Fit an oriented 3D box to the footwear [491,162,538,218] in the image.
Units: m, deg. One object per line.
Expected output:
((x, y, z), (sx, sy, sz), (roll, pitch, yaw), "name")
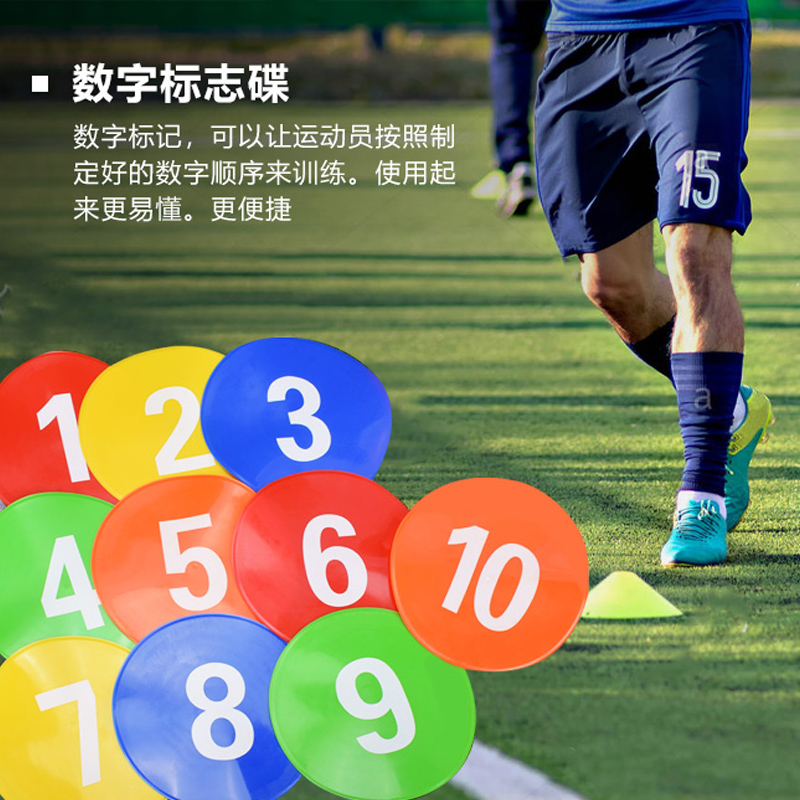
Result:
((0.513, -0.913, 8.070), (0.167, 0.248, 0.089), (9, -6, 14), "footwear")

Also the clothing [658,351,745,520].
((0.622, 0.044, 3.802), (0.151, 0.304, 0.223), (8, 34, 7), "clothing")

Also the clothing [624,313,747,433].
((0.634, -0.115, 4.261), (0.166, 0.152, 0.298), (8, -15, 23), "clothing")

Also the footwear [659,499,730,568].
((0.618, 0.273, 3.777), (0.122, 0.104, 0.289), (-1, 13, 21), "footwear")

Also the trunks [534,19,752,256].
((0.554, -0.572, 3.922), (0.555, 0.474, 0.329), (-1, -5, 44), "trunks")
